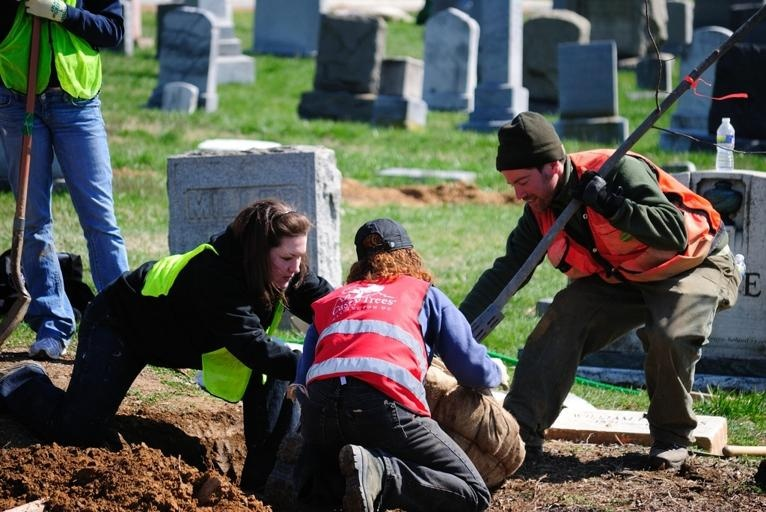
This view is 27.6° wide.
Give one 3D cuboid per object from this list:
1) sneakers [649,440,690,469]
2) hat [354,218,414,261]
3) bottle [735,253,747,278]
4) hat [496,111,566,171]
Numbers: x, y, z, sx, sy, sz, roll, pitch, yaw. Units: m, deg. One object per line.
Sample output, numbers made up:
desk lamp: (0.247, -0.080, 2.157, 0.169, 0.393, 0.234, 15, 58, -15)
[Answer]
sneakers: (2.476, 1.756, 13.635, 0.316, 0.228, 0.277, 9, 6, 19)
hat: (-0.060, -0.133, 13.300, 0.305, 0.237, 0.426, -10, 4, -22)
bottle: (3.238, 0.098, 14.254, 0.136, 0.194, 0.422, -2, -21, 12)
hat: (1.263, -1.041, 13.821, 0.653, 0.527, 0.633, -4, 3, 21)
